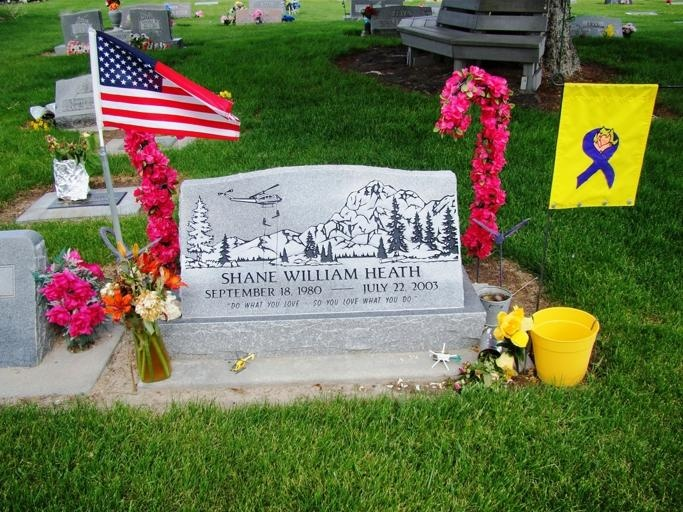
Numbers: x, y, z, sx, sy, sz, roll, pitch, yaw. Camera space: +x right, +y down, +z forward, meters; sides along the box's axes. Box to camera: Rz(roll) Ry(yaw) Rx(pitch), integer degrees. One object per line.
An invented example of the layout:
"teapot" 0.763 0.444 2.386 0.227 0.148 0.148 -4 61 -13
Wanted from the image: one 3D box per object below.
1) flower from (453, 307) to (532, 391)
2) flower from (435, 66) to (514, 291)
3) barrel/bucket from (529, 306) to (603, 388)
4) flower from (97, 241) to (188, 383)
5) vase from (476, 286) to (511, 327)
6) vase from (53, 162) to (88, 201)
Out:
"flower" 1.594 0.931 7.314 0.631 0.372 0.317 -37 45 -14
"flower" 1.505 -0.994 7.950 0.797 2.332 0.524 2 23 7
"barrel/bucket" 2.348 0.954 7.341 0.676 0.634 0.667 0 22 0
"flower" -2.102 0.625 7.350 0.927 1.396 0.835 22 36 38
"vase" 1.750 0.501 7.960 0.451 0.331 0.424 9 31 15
"vase" -4.387 -1.232 11.154 0.516 0.655 0.426 2 20 -4
